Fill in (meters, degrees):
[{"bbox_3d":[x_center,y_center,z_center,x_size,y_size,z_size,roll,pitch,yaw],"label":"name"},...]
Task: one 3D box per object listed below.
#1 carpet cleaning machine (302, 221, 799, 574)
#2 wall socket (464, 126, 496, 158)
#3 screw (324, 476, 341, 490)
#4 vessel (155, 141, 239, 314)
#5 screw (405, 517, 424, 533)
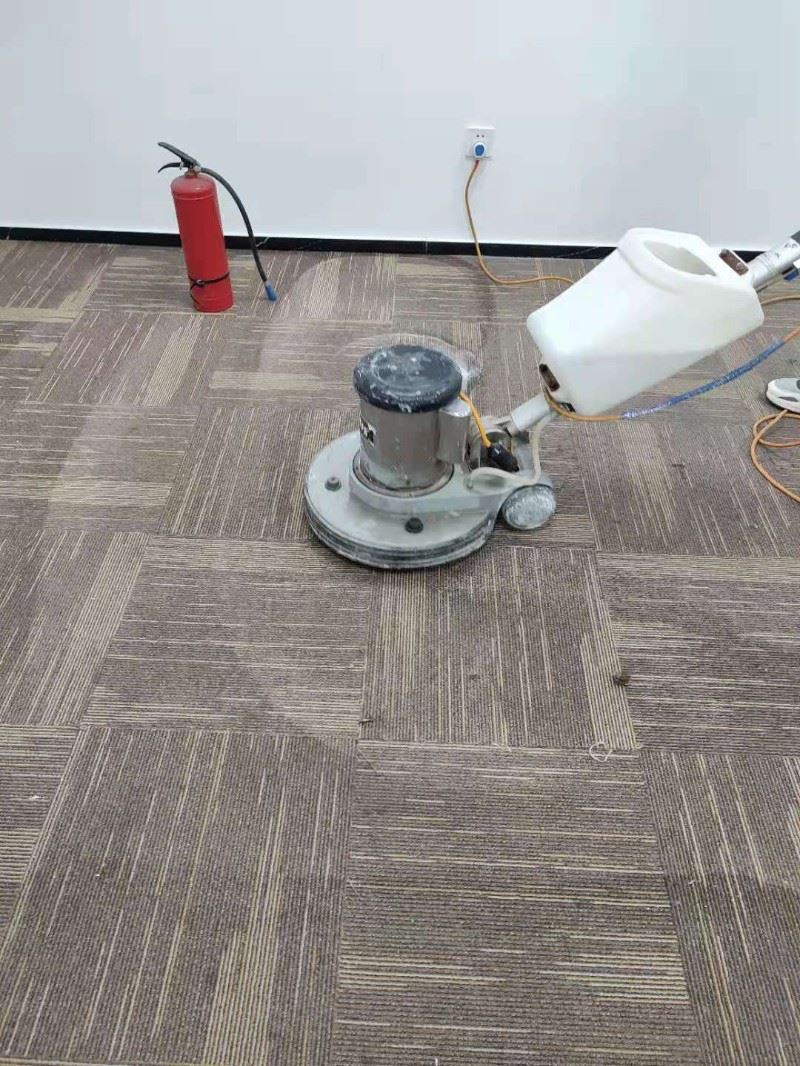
[{"bbox_3d":[0.389,-0.309,2.138,1.447,0.849,0.509,-11,55,-4],"label":"carpet cleaning machine"},{"bbox_3d":[0.259,-1.292,2.800,0.113,0.120,0.064,2,52,0],"label":"wall socket"},{"bbox_3d":[-0.159,-0.118,2.022,0.031,0.014,0.030,16,50,7],"label":"screw"},{"bbox_3d":[-0.667,-1.008,2.796,0.217,0.622,0.195,4,50,3],"label":"vessel"},{"bbox_3d":[0.030,-0.017,1.923,0.036,0.018,0.035,-17,56,-28],"label":"screw"}]
